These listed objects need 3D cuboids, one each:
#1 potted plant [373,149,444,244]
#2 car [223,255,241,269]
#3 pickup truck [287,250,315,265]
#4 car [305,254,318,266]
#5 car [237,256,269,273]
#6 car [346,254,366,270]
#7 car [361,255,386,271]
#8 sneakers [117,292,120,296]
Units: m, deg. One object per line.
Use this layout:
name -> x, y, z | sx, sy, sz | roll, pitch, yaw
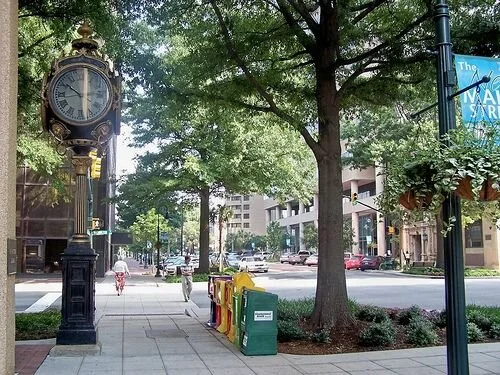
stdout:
potted plant -> 2.663, -0.025, 8.154 | 0.811, 0.836, 0.833 | -1, -15, -45
car -> -1.851, 7.463, 51.008 | 1.206, 0.973, 2.891 | 1, -8, -13
pickup truck -> 7.142, 9.344, 67.973 | 1.534, 1.250, 3.208 | -3, -2, 33
car -> 7.351, 8.643, 59.797 | 0.960, 1.306, 4.268 | -1, -7, 0
car -> 0.245, 6.999, 45.741 | 2.413, 1.500, 2.292 | -1, -7, -1
car -> 10.957, 7.833, 52.145 | 1.438, 1.123, 3.325 | -1, -1, 24
car -> 11.866, 7.328, 48.903 | 2.260, 1.312, 1.368 | -2, -7, 5
sneakers -> -6.395, 5.134, 24.320 | 0.128, 0.131, 0.071 | 0, -1, 8
